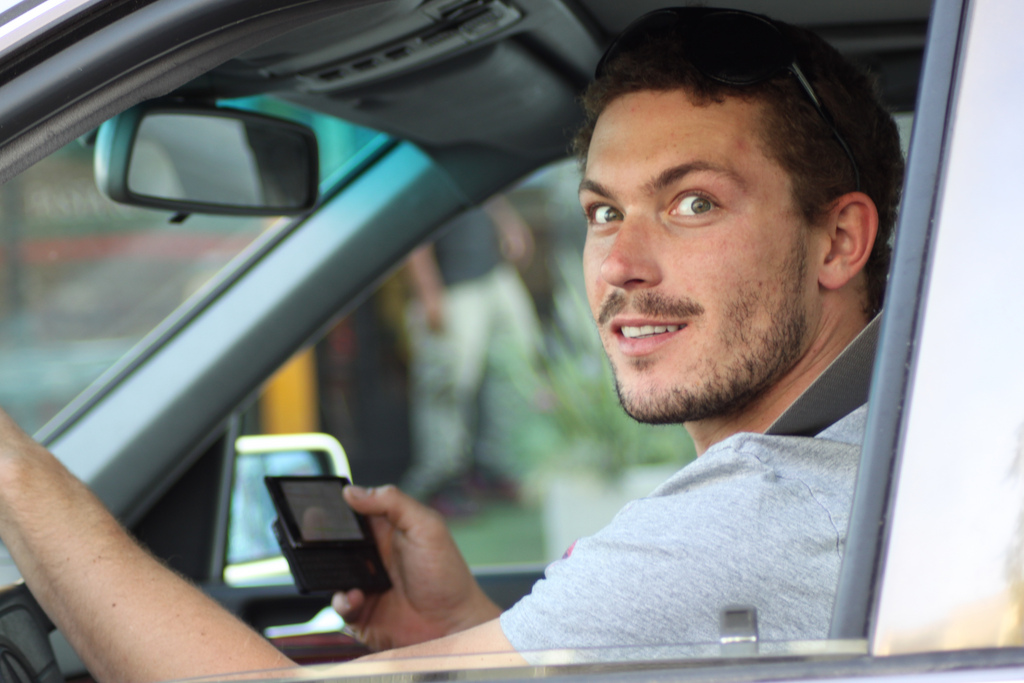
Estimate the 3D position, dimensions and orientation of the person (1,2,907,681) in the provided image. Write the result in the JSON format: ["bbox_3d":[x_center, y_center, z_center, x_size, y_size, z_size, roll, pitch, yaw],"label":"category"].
[{"bbox_3d":[-0.010,-0.012,2.419,1.759,0.986,1.282,5,-12,-8],"label":"person"}]
